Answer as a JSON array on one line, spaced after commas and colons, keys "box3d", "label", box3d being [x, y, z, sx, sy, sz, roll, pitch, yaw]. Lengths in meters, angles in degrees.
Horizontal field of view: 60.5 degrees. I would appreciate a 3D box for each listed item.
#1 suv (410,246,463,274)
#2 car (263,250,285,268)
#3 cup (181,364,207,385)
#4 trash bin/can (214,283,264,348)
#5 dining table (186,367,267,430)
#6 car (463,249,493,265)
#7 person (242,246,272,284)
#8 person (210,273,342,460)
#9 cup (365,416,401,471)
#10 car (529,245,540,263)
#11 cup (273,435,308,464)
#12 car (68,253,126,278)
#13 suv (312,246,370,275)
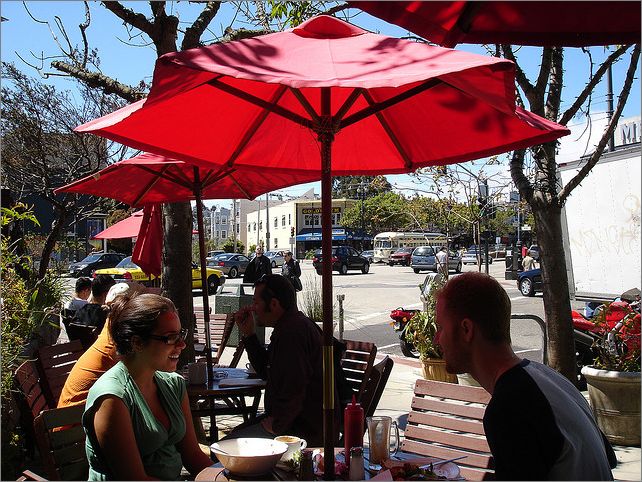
[{"box3d": [6.794, 1.156, 33.268, 1.637, 1.438, 3.099, 1, 4, 40], "label": "suv"}, {"box3d": [-4.399, 1.497, 48.533, 1.457, 1.394, 3.981, -3, -4, 25], "label": "car"}, {"box3d": [-1.176, 1.206, 5.108, 0.180, 0.222, 0.289, 3, -6, -23], "label": "cup"}, {"box3d": [-1.940, 1.488, 12.003, 0.716, 1.052, 0.770, 4, 4, 34], "label": "trash bin/can"}, {"box3d": [-0.877, 1.557, 5.237, 0.567, 0.367, 0.586, -7, -18, 18], "label": "dining table"}, {"box3d": [12.111, 1.251, 43.234, 1.231, 0.947, 2.800, 1, 5, 33], "label": "car"}, {"box3d": [-1.961, 0.824, 16.598, 0.860, 0.332, 1.340, 0, -45, -14], "label": "person"}, {"box3d": [-0.351, 1.197, 4.626, 0.963, 1.736, 0.860, -7, -13, 34], "label": "person"}, {"box3d": [0.371, 1.200, 3.410, 0.275, 0.379, 0.210, 1, -5, 3], "label": "cup"}, {"box3d": [13.461, 0.794, 34.963, 0.980, 0.775, 2.218, 1, 7, 17], "label": "car"}, {"box3d": [-0.171, 1.266, 3.382, 0.146, 0.109, 0.113, 3, -5, -23], "label": "cup"}, {"box3d": [-11.989, 1.276, 29.504, 2.847, 1.273, 1.383, 1, -3, -40], "label": "car"}, {"box3d": [1.894, 1.380, 40.140, 2.972, 2.100, 1.502, 1, -5, -29], "label": "suv"}]
